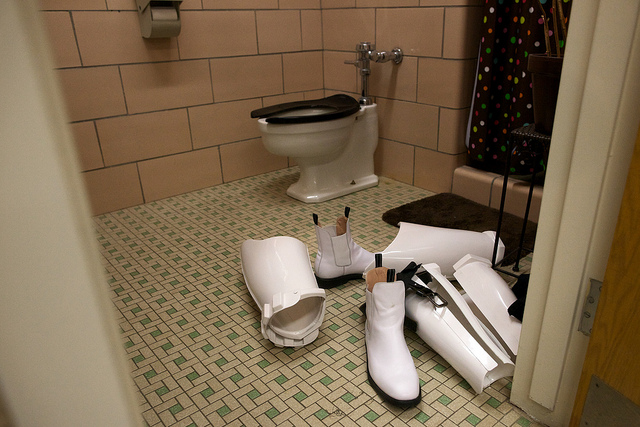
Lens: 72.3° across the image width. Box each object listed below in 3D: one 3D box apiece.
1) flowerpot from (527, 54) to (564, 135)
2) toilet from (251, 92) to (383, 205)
[{"bbox_3d":[0.725,-0.390,1.445,0.118,0.251,0.104,19,35,32],"label":"flowerpot"},{"bbox_3d":[-0.002,-0.379,2.549,0.727,0.527,0.491,-18,26,-34],"label":"toilet"}]
